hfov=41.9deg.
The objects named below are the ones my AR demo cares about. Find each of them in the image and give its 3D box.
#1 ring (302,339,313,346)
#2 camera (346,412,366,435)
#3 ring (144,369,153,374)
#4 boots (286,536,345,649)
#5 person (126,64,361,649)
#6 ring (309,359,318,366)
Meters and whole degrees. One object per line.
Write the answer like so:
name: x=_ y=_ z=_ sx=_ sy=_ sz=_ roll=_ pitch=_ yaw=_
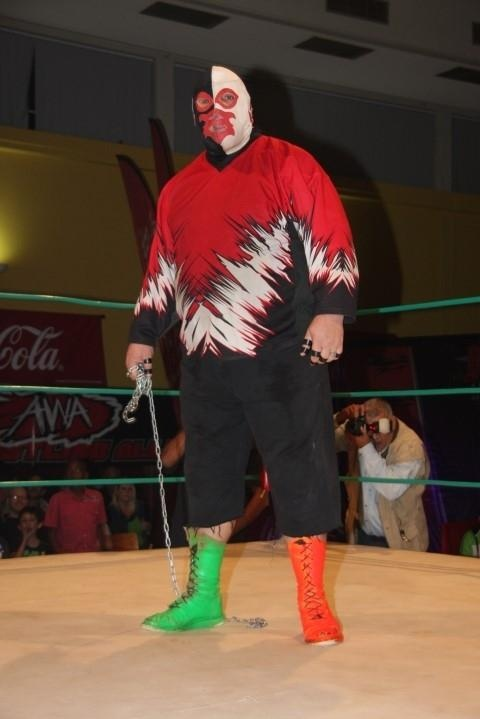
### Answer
ring: x=0.132 y=-0.035 z=1.233 sx=0.013 sy=0.013 sz=0.013 roll=2 pitch=8 yaw=0
camera: x=0.595 y=0.331 z=3.264 sx=0.089 sy=0.091 sz=0.094 roll=44 pitch=8 yaw=16
ring: x=-0.220 y=0.027 z=1.502 sx=0.013 sy=0.010 sz=0.012 roll=2 pitch=0 yaw=0
boots: x=0.153 y=0.473 z=1.305 sx=0.121 sy=0.208 sz=0.125 roll=-3 pitch=-10 yaw=24
person: x=0.006 y=-0.027 z=1.392 sx=0.288 sy=1.252 sz=0.538 roll=10 pitch=-13 yaw=-42
ring: x=0.148 y=0.005 z=1.270 sx=0.009 sy=0.013 sz=0.013 roll=0 pitch=4 yaw=24
